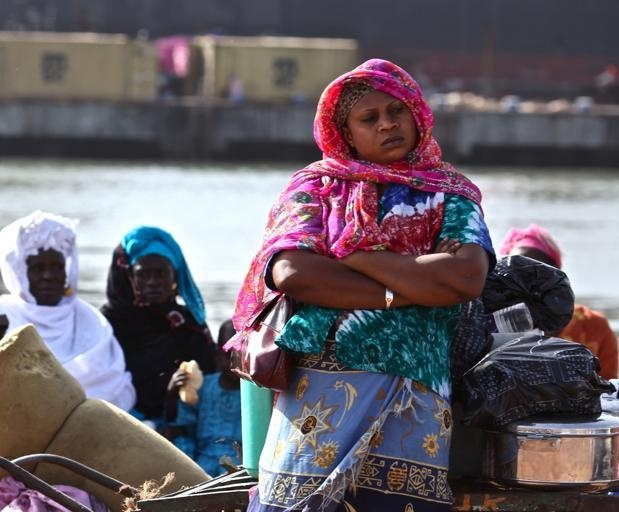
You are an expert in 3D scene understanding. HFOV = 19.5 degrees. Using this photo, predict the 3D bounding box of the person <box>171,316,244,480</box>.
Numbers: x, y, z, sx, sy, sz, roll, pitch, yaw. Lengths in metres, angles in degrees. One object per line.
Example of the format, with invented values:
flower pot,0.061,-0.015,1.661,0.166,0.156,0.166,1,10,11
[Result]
person,-0.637,0.955,11.125,0.410,0.743,0.307,2,-2,-4
